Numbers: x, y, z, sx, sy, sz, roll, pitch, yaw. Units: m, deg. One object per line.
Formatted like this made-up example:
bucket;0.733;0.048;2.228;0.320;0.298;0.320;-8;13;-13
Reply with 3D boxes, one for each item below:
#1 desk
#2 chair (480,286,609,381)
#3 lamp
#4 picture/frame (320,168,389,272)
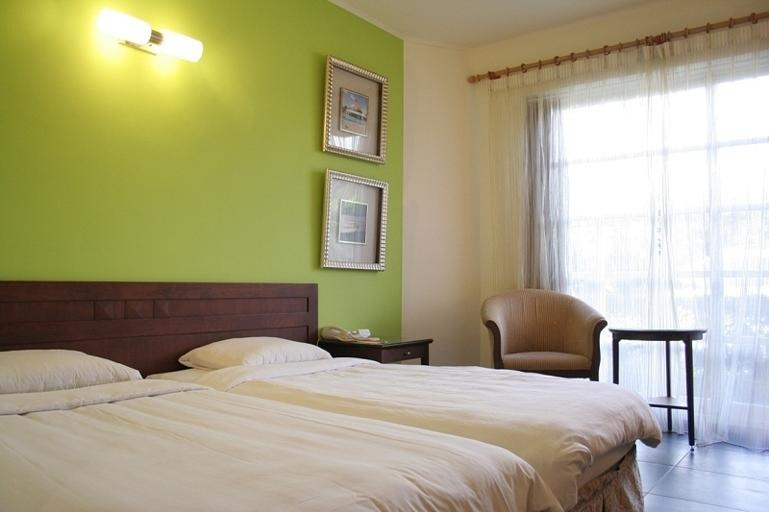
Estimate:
desk;2.494;1.204;5.172;0.949;1.241;1.027;-2;-1;-4
chair;1.478;0.733;5.146;0.937;0.861;0.824;0;-12;5
lamp;-1.634;-1.522;3.934;0.216;0.221;0.790;9;-2;34
picture/frame;-0.314;-0.339;5.182;0.089;1.113;0.916;-2;-7;44
